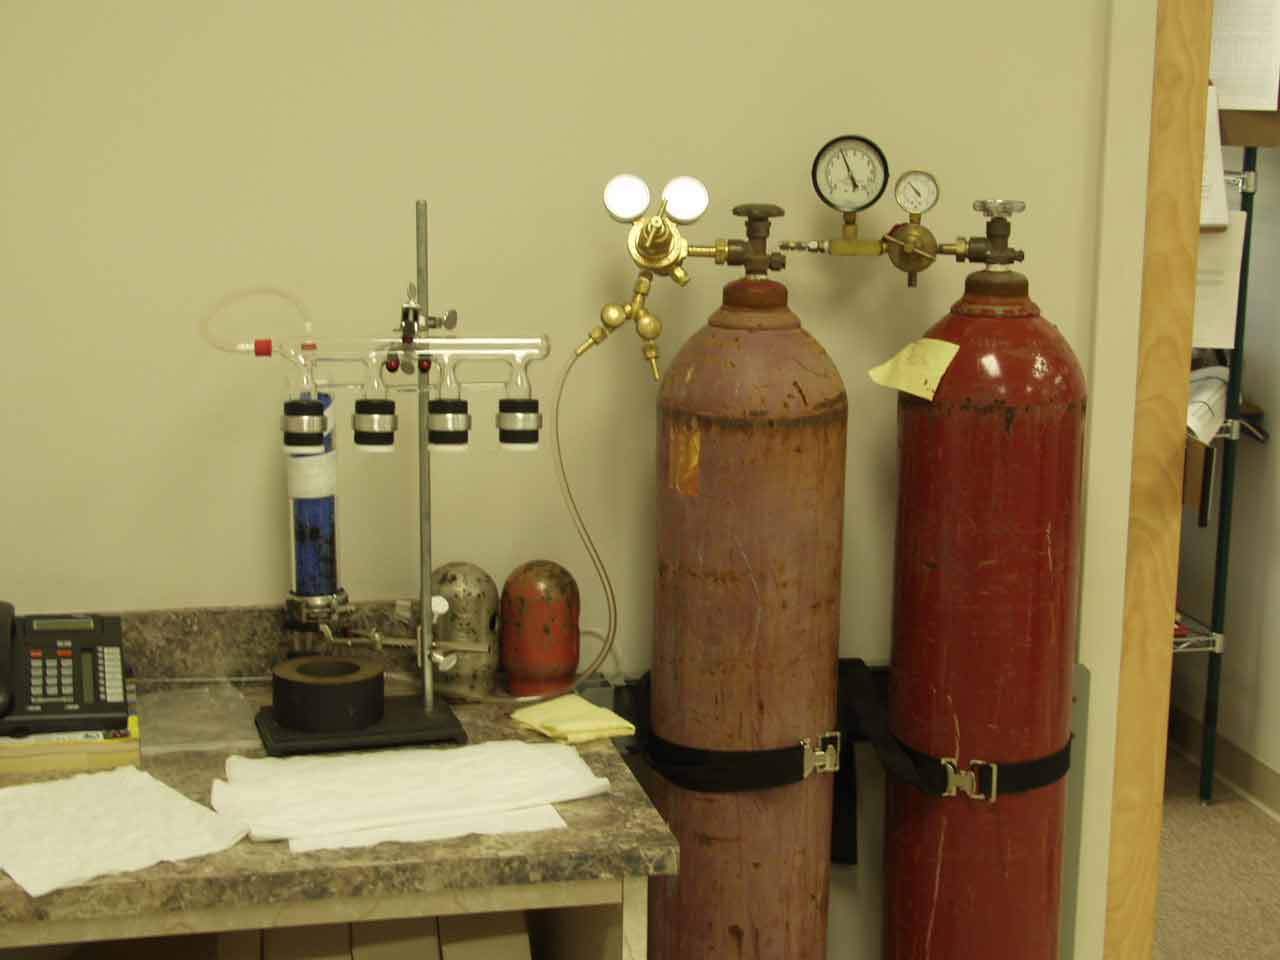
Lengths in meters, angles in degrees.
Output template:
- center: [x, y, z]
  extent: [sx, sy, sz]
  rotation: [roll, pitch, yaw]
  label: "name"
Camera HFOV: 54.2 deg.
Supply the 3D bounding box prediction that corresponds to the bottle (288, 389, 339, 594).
- center: [-0.612, 0.028, 2.343]
  extent: [0.097, 0.390, 0.320]
  rotation: [-4, 4, -16]
  label: "bottle"
